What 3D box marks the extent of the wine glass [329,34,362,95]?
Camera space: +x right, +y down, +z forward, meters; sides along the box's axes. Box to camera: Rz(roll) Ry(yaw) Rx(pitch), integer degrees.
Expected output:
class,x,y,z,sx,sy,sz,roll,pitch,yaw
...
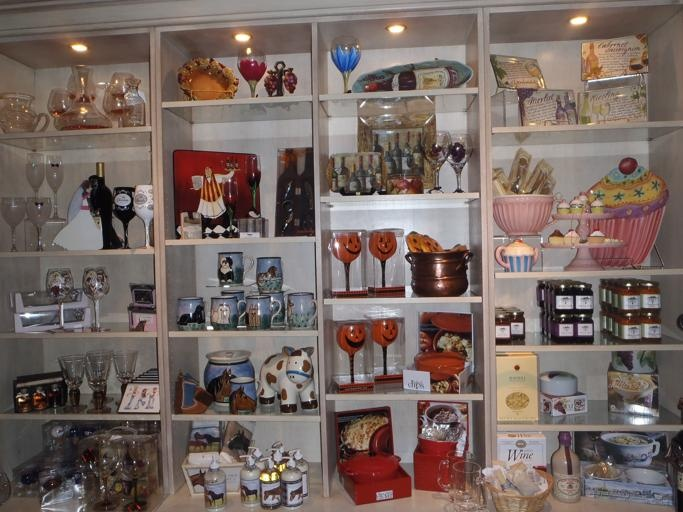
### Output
class,x,y,z,sx,sy,sz,roll,pitch,yaw
wine glass,0.023,-0.874,2.843,0.124,0.287,0.152,-1,-2,21

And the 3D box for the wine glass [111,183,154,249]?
class,x,y,z,sx,sy,sz,roll,pitch,yaw
wine glass,-0.961,-0.183,2.945,0.219,0.290,0.145,-1,-2,11

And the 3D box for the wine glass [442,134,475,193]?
class,x,y,z,sx,sy,sz,roll,pitch,yaw
wine glass,0.553,-0.417,2.912,0.119,0.282,0.337,-1,-1,12

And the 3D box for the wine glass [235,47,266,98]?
class,x,y,z,sx,sy,sz,roll,pitch,yaw
wine glass,-0.413,-0.847,2.849,0.108,0.230,0.090,-1,-2,30

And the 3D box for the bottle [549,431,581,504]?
class,x,y,z,sx,sy,sz,roll,pitch,yaw
bottle,0.982,0.925,2.731,0.116,0.302,0.049,-1,-2,16

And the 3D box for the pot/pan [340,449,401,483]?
class,x,y,z,sx,sy,sz,roll,pitch,yaw
pot/pan,0.119,0.958,2.834,0.279,0.109,0.186,0,-1,4

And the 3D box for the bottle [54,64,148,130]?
class,x,y,z,sx,sy,sz,roll,pitch,yaw
bottle,-1.136,-0.731,2.933,0.391,0.192,0.298,-5,22,-22

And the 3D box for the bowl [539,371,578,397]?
class,x,y,z,sx,sy,sz,roll,pitch,yaw
bowl,1.011,0.593,2.880,0.192,0.098,0.109,0,-1,1

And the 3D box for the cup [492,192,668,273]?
class,x,y,z,sx,sy,sz,roll,pitch,yaw
cup,1.153,-0.083,2.816,0.538,0.272,0.444,-1,-1,15
